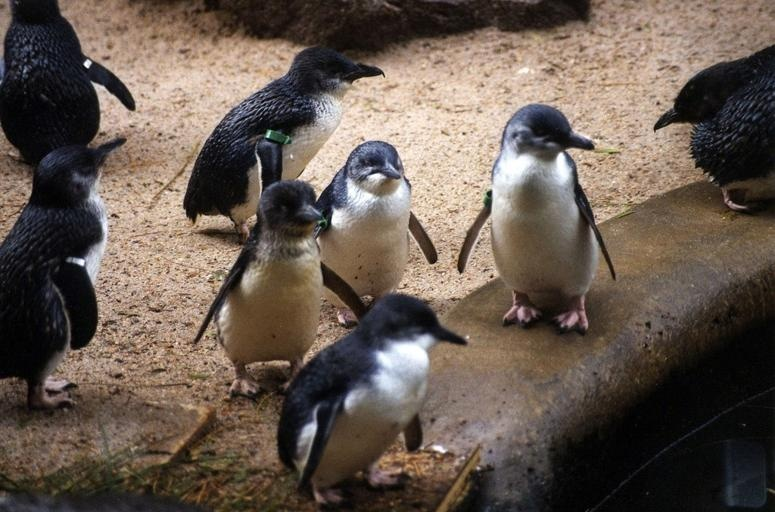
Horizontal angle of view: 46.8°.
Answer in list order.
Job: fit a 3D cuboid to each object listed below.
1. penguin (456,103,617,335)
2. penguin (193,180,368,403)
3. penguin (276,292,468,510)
[{"bbox_3d":[0.801,-0.175,4.704,0.829,1.108,1.144,3,-5,8],"label":"penguin"},{"bbox_3d":[-0.513,0.174,4.537,1.056,1.009,0.679,-6,14,-35],"label":"penguin"},{"bbox_3d":[-0.121,0.631,3.943,0.604,0.981,0.348,0,29,-26],"label":"penguin"}]
